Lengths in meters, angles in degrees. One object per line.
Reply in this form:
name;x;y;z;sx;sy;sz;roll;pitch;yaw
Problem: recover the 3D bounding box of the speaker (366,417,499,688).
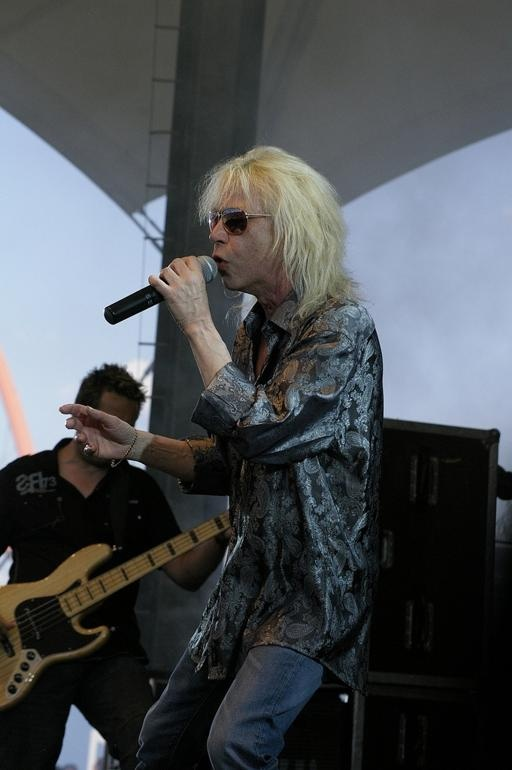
speaker;0.490;0.424;2.087;0.197;0.563;0.606;3;4;-22
